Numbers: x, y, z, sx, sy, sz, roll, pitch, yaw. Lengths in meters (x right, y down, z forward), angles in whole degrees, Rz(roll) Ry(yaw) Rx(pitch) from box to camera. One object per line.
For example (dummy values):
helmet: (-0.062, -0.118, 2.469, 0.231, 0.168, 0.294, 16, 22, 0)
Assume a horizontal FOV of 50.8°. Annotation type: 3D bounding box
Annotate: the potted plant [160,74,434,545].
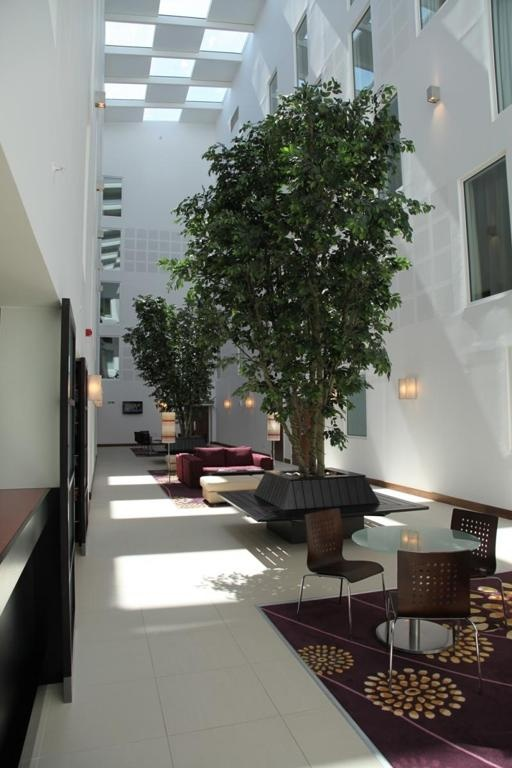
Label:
potted plant: (0.678, -0.737, 6.247, 2.482, 3.673, 2.329, 1, 10, 15)
